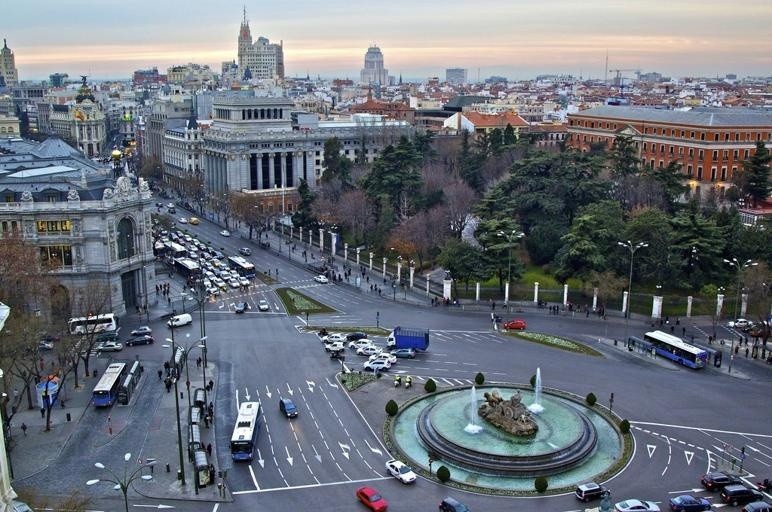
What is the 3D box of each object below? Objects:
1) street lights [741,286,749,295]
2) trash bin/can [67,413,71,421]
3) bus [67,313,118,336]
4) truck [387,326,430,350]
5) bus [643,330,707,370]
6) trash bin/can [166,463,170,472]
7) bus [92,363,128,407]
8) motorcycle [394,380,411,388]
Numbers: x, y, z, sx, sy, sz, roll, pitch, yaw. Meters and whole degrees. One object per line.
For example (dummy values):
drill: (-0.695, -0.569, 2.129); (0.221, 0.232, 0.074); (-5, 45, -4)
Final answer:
street lights: (58.941, 5.735, 140.679); (0.824, 0.793, 1.191); (1, -5, -2)
trash bin/can: (-40.504, 20.627, 109.323); (0.476, 0.944, 0.196); (1, -13, -23)
bus: (-45.675, 10.464, 128.310); (8.222, 3.464, 2.890); (2, 7, -1)
truck: (3.228, 12.122, 127.102); (5.837, 3.051, 2.852); (3, 13, 5)
bus: (42.522, 13.882, 126.210); (3.259, 2.807, 9.450); (-6, 19, -34)
trash bin/can: (-25.786, 25.289, 101.415); (0.458, 0.803, 0.640); (-5, 12, -15)
bus: (-36.831, 17.289, 114.524); (2.591, 2.186, 7.426); (5, 25, -4)
motorcycle: (2.246, 17.489, 117.446); (2.426, 0.961, 1.665); (0, 11, 10)
